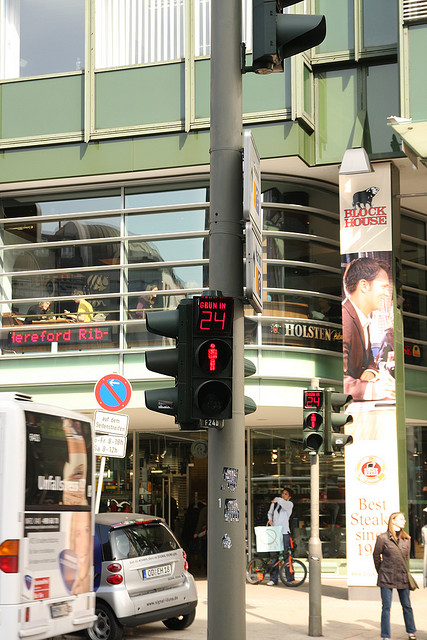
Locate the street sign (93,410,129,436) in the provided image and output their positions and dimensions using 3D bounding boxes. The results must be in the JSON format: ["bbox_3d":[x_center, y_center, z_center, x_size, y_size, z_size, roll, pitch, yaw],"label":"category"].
[{"bbox_3d":[-1.338,1.359,13.426,0.515,0.324,0.275,4,-10,-23],"label":"street sign"}]

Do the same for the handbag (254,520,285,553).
[{"bbox_3d":[0.974,3.854,17.991,0.593,0.730,0.381,-6,-16,10],"label":"handbag"}]

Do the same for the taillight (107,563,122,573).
[{"bbox_3d":[-1.117,2.847,11.723,0.115,0.060,0.086,2,-1,30],"label":"taillight"}]

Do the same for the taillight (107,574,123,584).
[{"bbox_3d":[-1.130,2.963,11.709,0.119,0.070,0.089,8,0,23],"label":"taillight"}]

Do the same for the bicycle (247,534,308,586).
[{"bbox_3d":[1.077,4.258,17.954,1.136,0.820,0.598,-3,-27,25],"label":"bicycle"}]

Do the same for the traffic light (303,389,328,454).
[{"bbox_3d":[1.297,1.296,13.055,0.307,0.825,0.270,-1,-9,9],"label":"traffic light"}]

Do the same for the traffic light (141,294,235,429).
[{"bbox_3d":[-0.128,0.265,7.256,0.602,1.024,0.567,2,7,23],"label":"traffic light"}]

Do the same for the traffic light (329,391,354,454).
[{"bbox_3d":[1.582,1.345,13.151,0.282,0.649,0.188,-3,11,8],"label":"traffic light"}]
